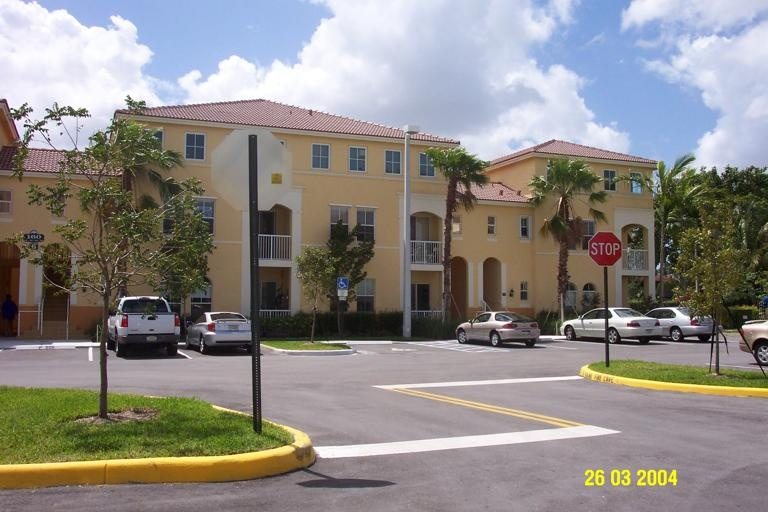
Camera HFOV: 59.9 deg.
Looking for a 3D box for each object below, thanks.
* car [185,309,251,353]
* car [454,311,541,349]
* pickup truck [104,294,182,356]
[{"bbox_3d":[-6.477,3.030,26.087,1.463,1.565,3.183,0,1,-41],"label":"car"},{"bbox_3d":[5.200,3.319,30.638,1.616,1.116,3.131,4,-2,-32],"label":"car"},{"bbox_3d":[-8.815,2.565,24.354,3.444,2.331,2.036,2,1,38],"label":"pickup truck"}]
